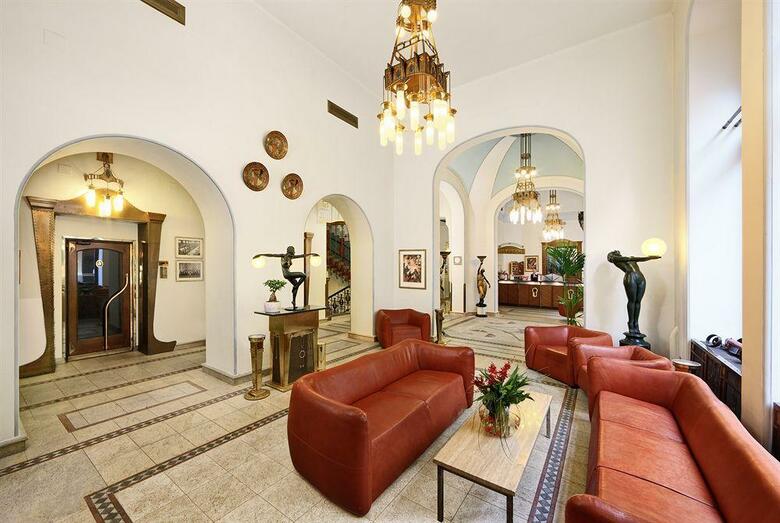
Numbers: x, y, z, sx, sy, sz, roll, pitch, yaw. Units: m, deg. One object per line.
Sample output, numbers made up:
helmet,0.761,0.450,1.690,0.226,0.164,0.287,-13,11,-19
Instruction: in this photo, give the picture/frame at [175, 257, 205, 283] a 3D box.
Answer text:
picture/frame,-4.377,0.163,10.569,0.050,0.483,0.497,-7,-8,35

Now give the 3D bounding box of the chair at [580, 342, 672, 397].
chair,3.624,1.539,7.847,0.952,0.779,1.014,1,-5,-13

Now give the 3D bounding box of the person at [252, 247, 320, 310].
person,-1.791,0.333,8.934,1.305,1.216,0.422,-6,-1,-42

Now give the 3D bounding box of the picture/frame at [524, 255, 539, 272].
picture/frame,5.701,0.040,19.557,0.539,0.692,0.045,5,6,38

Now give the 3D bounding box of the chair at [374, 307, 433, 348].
chair,0.208,1.514,10.912,0.924,0.883,0.887,3,-11,-18

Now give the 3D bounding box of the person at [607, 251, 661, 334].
person,4.386,0.565,8.818,0.773,1.597,0.442,-4,-3,42

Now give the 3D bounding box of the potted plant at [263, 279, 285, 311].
potted plant,-2.102,0.568,8.926,0.442,0.772,0.584,1,-2,-16

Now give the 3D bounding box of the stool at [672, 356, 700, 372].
stool,4.583,1.617,7.596,0.337,0.231,0.355,-1,6,5

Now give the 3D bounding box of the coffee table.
coffee table,1.285,1.855,6.284,1.021,1.095,2.241,1,10,30

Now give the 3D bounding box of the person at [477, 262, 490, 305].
person,2.777,0.738,14.818,0.407,1.252,0.465,-3,-3,38

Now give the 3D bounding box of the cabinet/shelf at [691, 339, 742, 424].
cabinet/shelf,4.642,1.701,6.883,0.298,0.573,1.068,2,3,11
